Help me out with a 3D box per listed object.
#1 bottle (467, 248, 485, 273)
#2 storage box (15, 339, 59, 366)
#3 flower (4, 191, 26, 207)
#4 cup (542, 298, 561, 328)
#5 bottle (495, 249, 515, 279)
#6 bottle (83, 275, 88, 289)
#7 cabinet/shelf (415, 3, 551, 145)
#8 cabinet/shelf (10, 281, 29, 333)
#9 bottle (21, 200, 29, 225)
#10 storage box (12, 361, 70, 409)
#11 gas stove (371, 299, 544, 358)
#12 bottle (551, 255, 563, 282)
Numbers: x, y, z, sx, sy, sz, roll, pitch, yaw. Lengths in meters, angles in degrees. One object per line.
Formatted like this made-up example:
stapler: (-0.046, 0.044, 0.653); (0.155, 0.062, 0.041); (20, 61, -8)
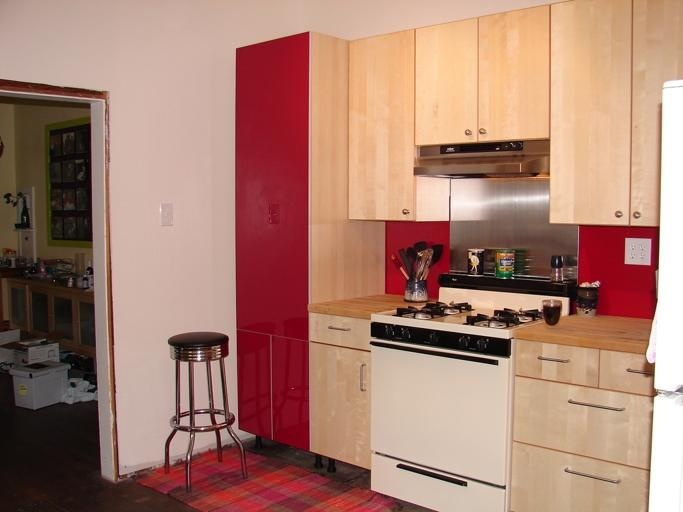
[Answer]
bottle: (0.882, 0.032, 3.701); (0.141, 0.216, 0.149); (0, 2, 0)
storage box: (-2.935, 0.926, 5.362); (0.286, 0.171, 0.287); (3, 5, 42)
flower: (-4.312, -0.753, 7.277); (0.193, 0.196, 0.444); (-4, 8, -35)
cup: (1.109, 0.297, 2.908); (0.087, 0.142, 0.138); (3, 7, 19)
bottle: (1.041, 0.046, 3.482); (0.115, 0.175, 0.084); (3, 7, 17)
bottle: (-2.727, 0.273, 5.888); (0.051, 0.120, 0.095); (-4, 8, -34)
cabinet/shelf: (0.841, -1.034, 3.208); (0.959, 0.815, 0.365); (2, 4, 39)
cabinet/shelf: (-3.857, 0.592, 6.646); (0.227, 0.573, 0.636); (0, 1, -42)
bottle: (-4.070, -0.575, 7.115); (0.084, 0.373, 0.255); (-4, 8, -35)
storage box: (-2.661, 1.095, 4.926); (0.344, 0.398, 0.462); (1, 3, 32)
gas stove: (0.646, 0.425, 3.210); (0.885, 0.247, 0.460); (5, 8, 36)
bottle: (1.304, 0.072, 3.316); (0.066, 0.152, 0.089); (4, 7, 28)
